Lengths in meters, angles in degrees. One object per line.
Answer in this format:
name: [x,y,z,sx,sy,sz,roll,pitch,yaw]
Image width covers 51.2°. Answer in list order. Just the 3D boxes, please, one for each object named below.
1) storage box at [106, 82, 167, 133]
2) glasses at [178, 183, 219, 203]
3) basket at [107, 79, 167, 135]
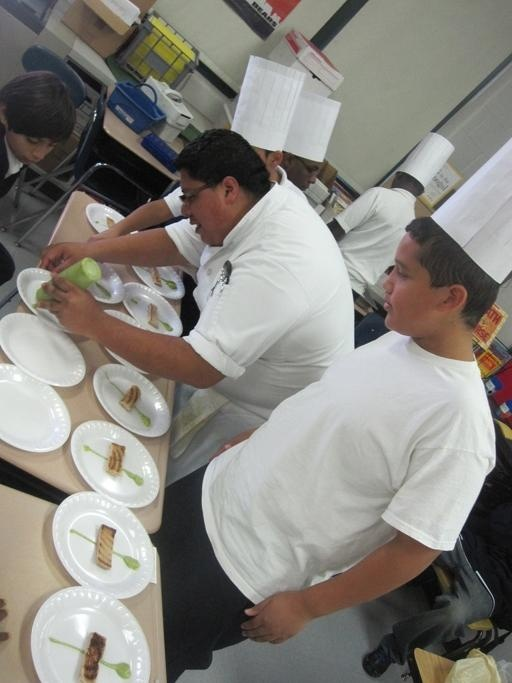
storage box: [-0.697,-1.342,3.202,0.334,0.143,0.218,15,31,-47]
glasses: [-0.163,-0.398,1.455,0.063,0.070,0.020,-113,180,-71]
basket: [-0.701,-1.373,3.215,0.324,0.237,0.225,43,26,-6]
